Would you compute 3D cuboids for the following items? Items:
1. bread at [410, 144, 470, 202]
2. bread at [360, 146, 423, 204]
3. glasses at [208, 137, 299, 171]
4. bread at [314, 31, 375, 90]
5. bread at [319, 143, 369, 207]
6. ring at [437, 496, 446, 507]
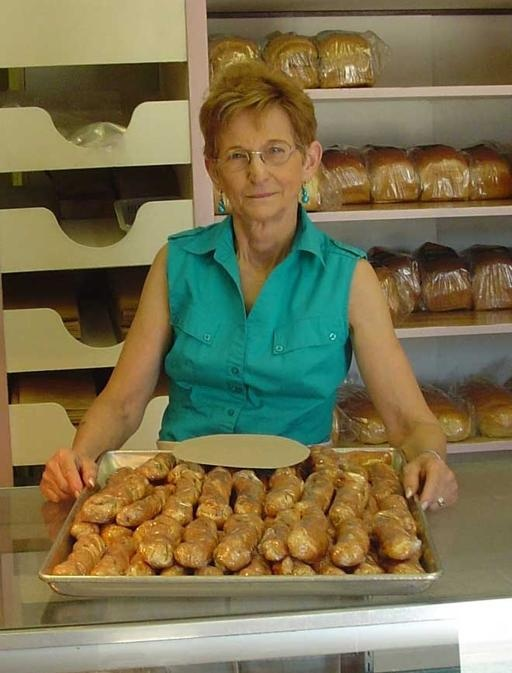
[{"bbox_3d":[0.610,-0.534,2.032,0.214,0.168,0.188,2,10,9],"label":"bread"},{"bbox_3d":[0.437,-0.549,2.064,0.175,0.165,0.230,-5,32,-11],"label":"bread"},{"bbox_3d":[0.002,-0.323,1.082,0.141,0.046,0.054,-1,9,5],"label":"glasses"},{"bbox_3d":[0.280,-0.849,1.950,0.213,0.172,0.185,0,-2,-6],"label":"bread"},{"bbox_3d":[0.283,-0.520,2.048,0.187,0.222,0.147,-3,-23,-14],"label":"bread"},{"bbox_3d":[0.218,0.192,0.706,0.013,0.011,0.004,-6,-11,43],"label":"ring"}]
